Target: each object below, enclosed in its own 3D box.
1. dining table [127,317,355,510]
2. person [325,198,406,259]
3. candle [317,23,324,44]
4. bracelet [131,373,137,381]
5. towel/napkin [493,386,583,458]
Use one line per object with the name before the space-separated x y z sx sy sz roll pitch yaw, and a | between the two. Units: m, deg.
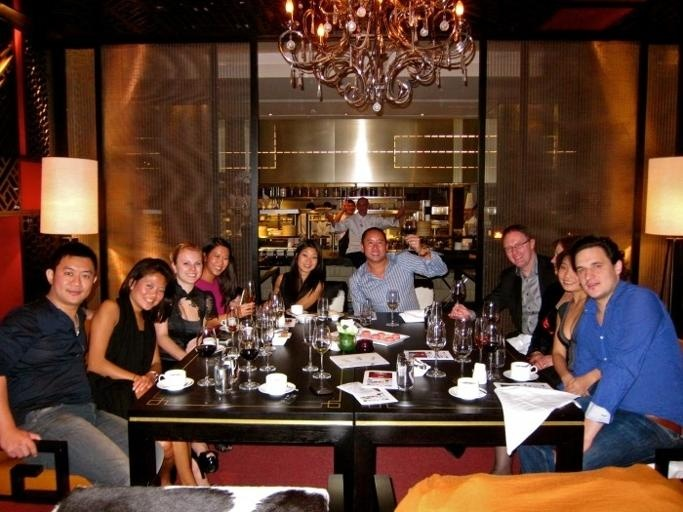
dining table | -0.468 0.903 3.006 1.069 0.622 0.506 1 2 0
person | 0.271 -0.374 7.639 0.833 1.072 0.375 -1 -17 -1
candle | -0.133 -1.505 3.972 0.050 0.126 0.088 1 2 -3
bracelet | -1.166 0.684 3.327 0.033 0.026 0.033 1 -2 -32
towel/napkin | 0.918 0.760 2.785 0.315 0.116 0.335 -4 22 -1
